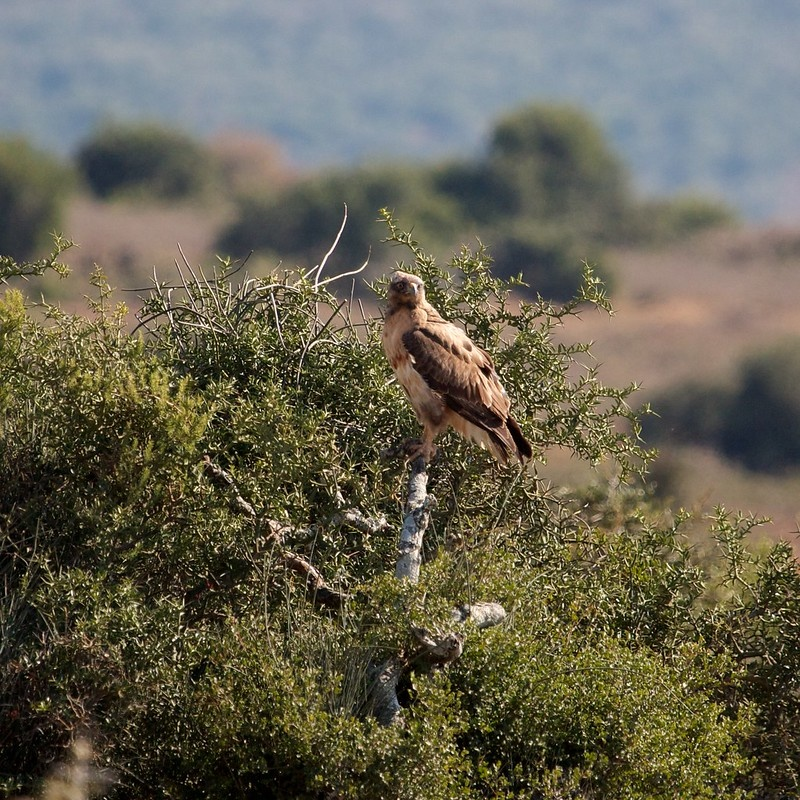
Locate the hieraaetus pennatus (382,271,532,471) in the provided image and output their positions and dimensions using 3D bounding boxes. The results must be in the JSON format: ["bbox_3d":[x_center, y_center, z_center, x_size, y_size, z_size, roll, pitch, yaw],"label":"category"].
[{"bbox_3d":[0.174,-0.090,5.548,0.352,0.356,0.653,-3,36,-19],"label":"hieraaetus pennatus"}]
